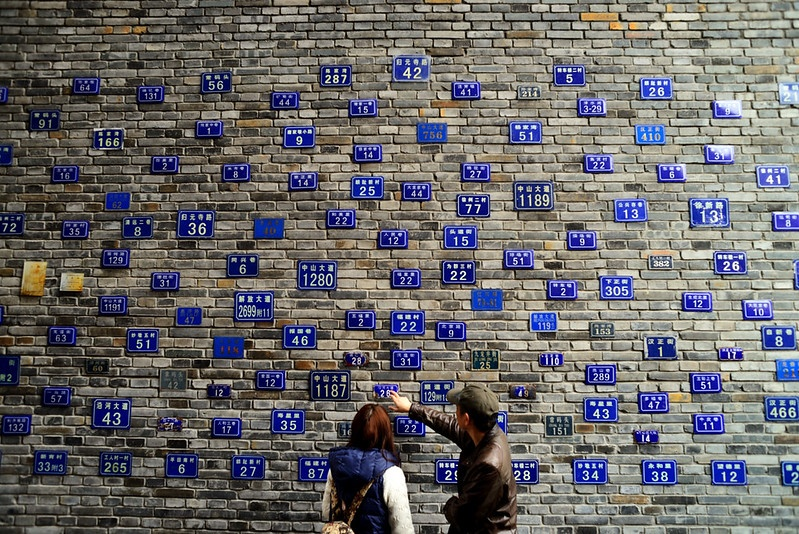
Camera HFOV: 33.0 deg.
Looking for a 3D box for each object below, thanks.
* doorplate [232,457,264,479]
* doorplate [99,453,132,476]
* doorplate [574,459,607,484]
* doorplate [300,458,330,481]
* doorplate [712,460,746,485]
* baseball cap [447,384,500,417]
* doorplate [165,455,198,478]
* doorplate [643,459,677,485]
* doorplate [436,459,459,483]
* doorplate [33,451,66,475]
[{"bbox_3d":[-1.514,2.059,13.695,0.256,0.034,0.153,0,81,-3],"label":"doorplate"},{"bbox_3d":[-2.872,2.027,13.744,0.273,0.027,0.180,0,84,-3],"label":"doorplate"},{"bbox_3d":[1.954,2.086,13.642,0.284,0.036,0.176,0,83,5],"label":"doorplate"},{"bbox_3d":[-0.840,2.064,13.628,0.417,0.050,0.259,-1,88,2],"label":"doorplate"},{"bbox_3d":[3.345,2.094,13.629,0.268,0.034,0.169,1,74,3],"label":"doorplate"},{"bbox_3d":[0.718,1.212,12.640,0.423,0.269,0.209,17,116,19],"label":"baseball cap"},{"bbox_3d":[-2.192,2.031,13.729,0.327,0.058,0.251,2,80,-4],"label":"doorplate"},{"bbox_3d":[2.655,2.087,13.637,0.294,0.036,0.182,-1,84,3],"label":"doorplate"},{"bbox_3d":[0.498,2.069,13.566,0.353,0.043,0.256,3,79,-7],"label":"doorplate"},{"bbox_3d":[-3.554,2.015,13.768,0.265,0.081,0.178,0,83,1],"label":"doorplate"}]
